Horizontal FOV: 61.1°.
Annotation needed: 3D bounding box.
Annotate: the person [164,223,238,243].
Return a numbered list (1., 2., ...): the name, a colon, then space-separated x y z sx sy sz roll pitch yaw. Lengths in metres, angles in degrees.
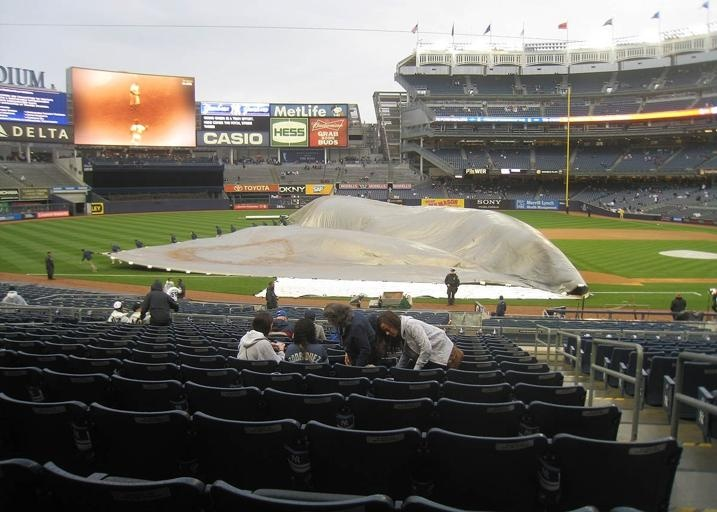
1. person: -9.210 -1.319 35.233 3.949 1.157 0.559 -13 46 -18

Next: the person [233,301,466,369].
1. person: 0.405 1.084 7.889 1.889 0.941 0.286 3 -32 1
